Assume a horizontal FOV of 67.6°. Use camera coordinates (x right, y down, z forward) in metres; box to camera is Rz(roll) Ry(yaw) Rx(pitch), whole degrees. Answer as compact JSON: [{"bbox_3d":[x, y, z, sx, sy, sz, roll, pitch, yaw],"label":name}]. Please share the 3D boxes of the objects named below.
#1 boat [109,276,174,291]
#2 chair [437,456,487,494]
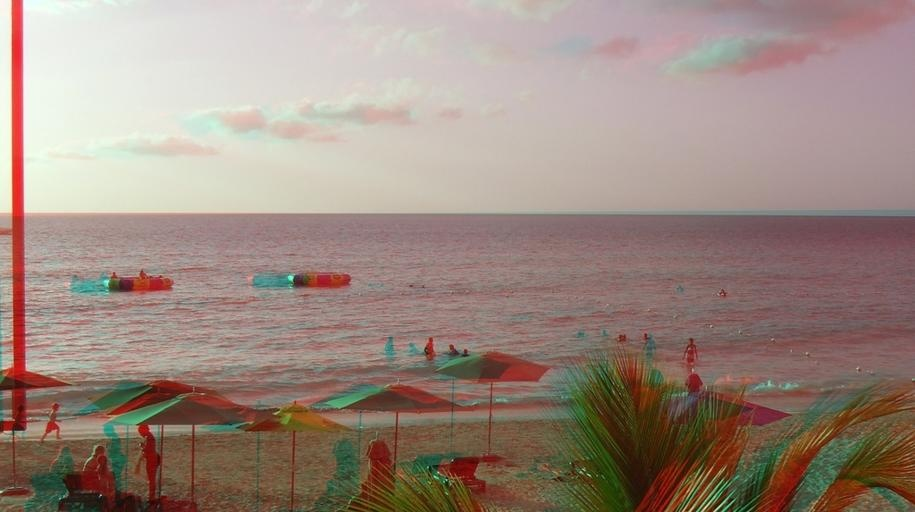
[{"bbox_3d":[-37.872,3.413,81.189,5.604,0.828,2.761,-1,3,-17],"label":"boat"},{"bbox_3d":[0.177,7.312,22.922,1.563,1.155,1.236,1,6,3],"label":"chair"}]
